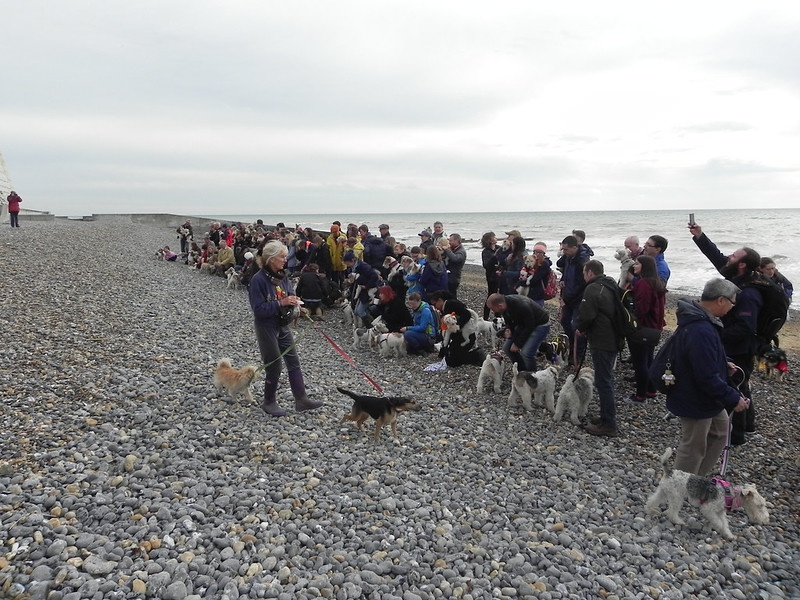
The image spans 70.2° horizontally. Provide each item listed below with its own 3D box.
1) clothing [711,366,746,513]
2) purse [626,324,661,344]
[{"bbox_3d":[4.272,1.789,7.428,0.307,1.992,0.331,5,3,6],"label":"clothing"},{"bbox_3d":[4.062,0.593,9.415,0.453,0.300,0.452,7,13,22],"label":"purse"}]
